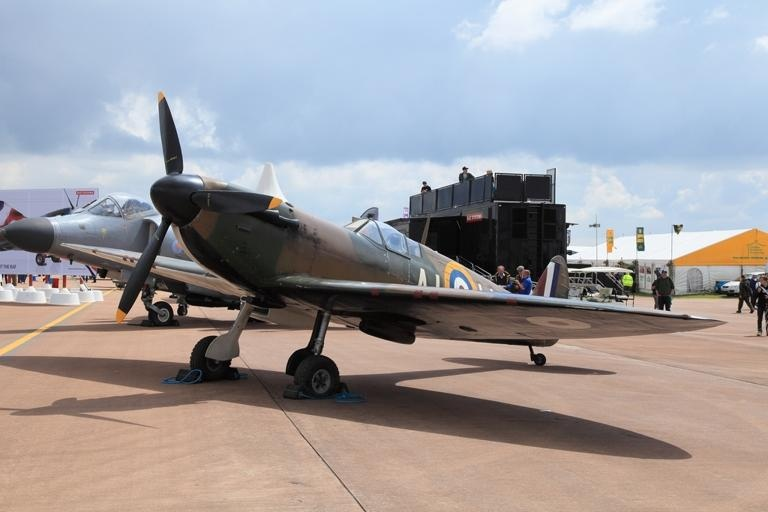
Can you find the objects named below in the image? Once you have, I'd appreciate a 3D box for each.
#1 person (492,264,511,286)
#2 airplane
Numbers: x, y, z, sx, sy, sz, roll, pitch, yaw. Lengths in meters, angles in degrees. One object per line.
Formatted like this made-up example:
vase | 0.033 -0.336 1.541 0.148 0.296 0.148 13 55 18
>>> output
person | 3.992 0.646 18.322 0.544 0.729 0.294 -19 -40 14
airplane | -0.292 -0.156 9.014 8.766 4.289 5.859 2 -1 6
